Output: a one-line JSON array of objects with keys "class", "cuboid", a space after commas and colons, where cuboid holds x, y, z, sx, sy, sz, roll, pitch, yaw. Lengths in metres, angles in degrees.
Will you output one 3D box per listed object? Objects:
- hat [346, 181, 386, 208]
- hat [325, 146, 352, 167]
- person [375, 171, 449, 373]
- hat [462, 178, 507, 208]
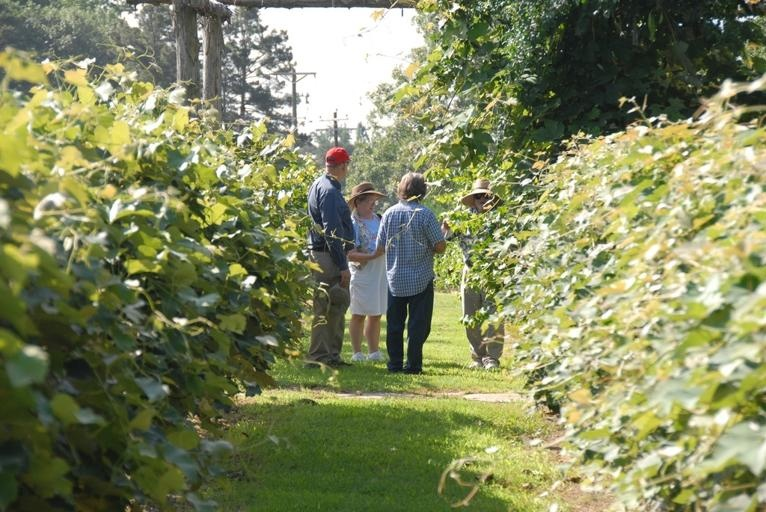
[{"class": "hat", "cuboid": [-0.243, -0.704, 8.963, 0.300, 0.104, 0.314, -4, -15, -22]}, {"class": "hat", "cuboid": [-0.420, -0.919, 7.728, 0.178, 0.131, 0.238, 5, 21, 14]}, {"class": "person", "cuboid": [0.260, 0.175, 7.896, 0.655, 1.937, 0.695, 2, 6, 0]}, {"class": "hat", "cuboid": [0.872, -0.528, 7.659, 0.407, 0.207, 0.405, 1, -23, -1]}]
